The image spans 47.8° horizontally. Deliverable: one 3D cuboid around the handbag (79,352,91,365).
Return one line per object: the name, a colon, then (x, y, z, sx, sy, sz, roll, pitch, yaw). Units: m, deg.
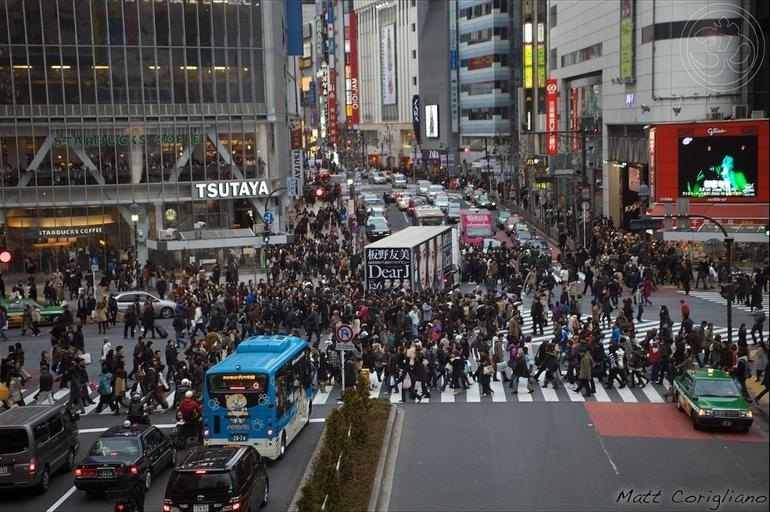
handbag: (-13.389, 4.580, 38.879, 0.352, 0.531, 0.682, -7, 14, -16)

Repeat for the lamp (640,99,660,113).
lamp: (20.478, -11.633, 67.471, 1.022, 0.809, 1.015, -6, 8, -34)

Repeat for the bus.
bus: (-4.629, 5.470, 32.993, 2.282, 4.297, 4.393, -2, 4, 29)

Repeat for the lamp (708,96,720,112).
lamp: (24.210, -11.273, 64.287, 0.786, 1.234, 0.704, -2, 3, 23)

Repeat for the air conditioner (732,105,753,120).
air conditioner: (25.710, -10.381, 63.084, 1.225, 1.350, 0.729, -1, -4, 6)

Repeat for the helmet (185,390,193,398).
helmet: (-7.663, 5.406, 33.965, 0.211, 0.255, 0.302, -3, -6, -6)

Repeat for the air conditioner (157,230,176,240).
air conditioner: (-16.315, -1.600, 65.385, 0.831, 0.598, 0.899, -1, 5, 5)

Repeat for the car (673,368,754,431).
car: (12.985, 5.739, 34.452, 2.437, 2.303, 2.418, -4, 3, 8)

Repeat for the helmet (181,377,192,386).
helmet: (-8.102, 5.114, 35.404, 0.250, 0.333, 0.345, 4, 23, 11)

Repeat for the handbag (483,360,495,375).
handbag: (4.494, 4.919, 38.326, 0.534, 0.593, 0.241, 0, -29, -5)

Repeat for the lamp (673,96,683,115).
lamp: (21.827, -11.262, 65.448, 0.794, 1.412, 1.420, -2, 4, 24)
